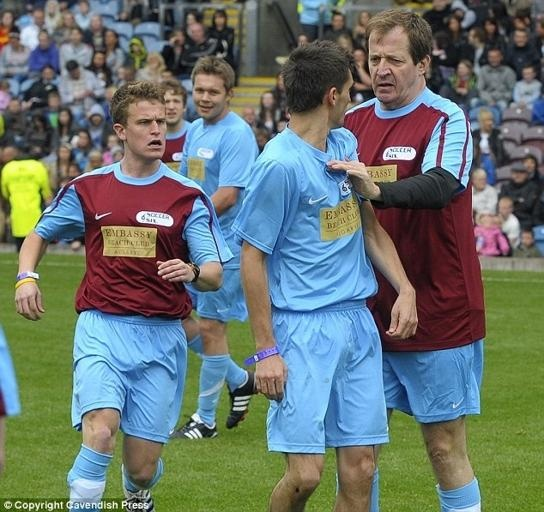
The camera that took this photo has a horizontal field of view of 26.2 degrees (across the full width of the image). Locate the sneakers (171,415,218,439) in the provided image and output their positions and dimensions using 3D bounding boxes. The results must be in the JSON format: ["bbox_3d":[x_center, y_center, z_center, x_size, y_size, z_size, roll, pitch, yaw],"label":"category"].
[{"bbox_3d":[-0.520,1.178,8.139,0.370,0.208,0.129,2,-1,-5],"label":"sneakers"}]

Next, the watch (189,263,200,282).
[{"bbox_3d":[-0.420,0.082,6.393,0.062,0.103,0.092,-3,-32,-11],"label":"watch"}]

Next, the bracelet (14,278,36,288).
[{"bbox_3d":[-1.359,0.145,6.438,0.104,0.063,0.099,-1,10,-14],"label":"bracelet"}]
